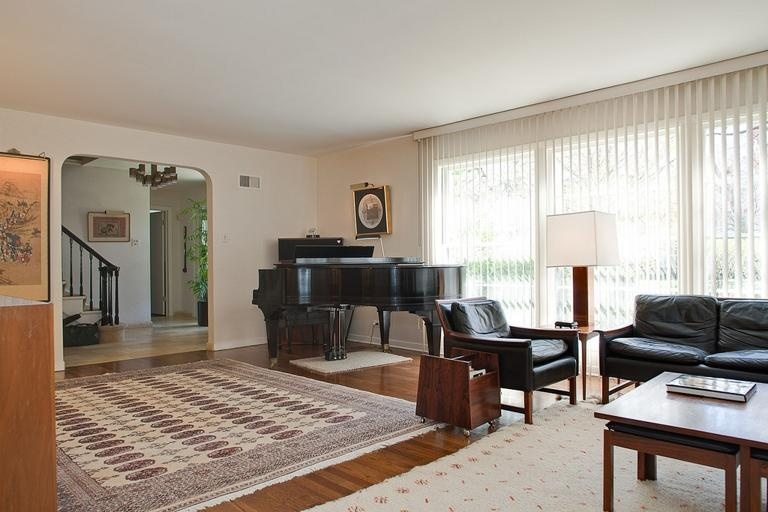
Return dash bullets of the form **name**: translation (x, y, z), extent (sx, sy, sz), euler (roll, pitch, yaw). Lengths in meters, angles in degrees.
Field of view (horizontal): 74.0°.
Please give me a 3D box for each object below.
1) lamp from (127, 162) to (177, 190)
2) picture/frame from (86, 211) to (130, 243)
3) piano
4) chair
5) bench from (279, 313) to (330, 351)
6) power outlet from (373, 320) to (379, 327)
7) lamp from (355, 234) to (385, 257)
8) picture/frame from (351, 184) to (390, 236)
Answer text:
- **lamp**: translation (-3.939, -1.371, 8.683), extent (0.711, 0.279, 0.718), euler (-3, -6, 35)
- **picture/frame**: translation (-5.492, -0.578, 10.050), extent (0.662, 0.579, 0.051), euler (2, -4, -39)
- **piano**: translation (-0.488, 0.619, 6.373), extent (1.683, 1.054, 1.916), euler (-1, 2, -44)
- **chair**: translation (1.137, 0.960, 5.176), extent (0.997, 1.211, 1.298), euler (1, -3, -43)
- **bench**: translation (-1.219, 1.078, 7.704), extent (0.602, 0.667, 0.943), euler (-1, 1, -30)
- **power outlet**: translation (-0.130, 1.075, 8.102), extent (0.103, 0.097, 0.027), euler (3, 39, 8)
- **lamp**: translation (-0.191, -0.163, 7.763), extent (0.342, 0.297, 0.170), euler (-5, -15, 23)
- **picture/frame**: translation (-0.183, -0.751, 8.175), extent (0.819, 0.829, 0.160), euler (-5, -6, 44)
